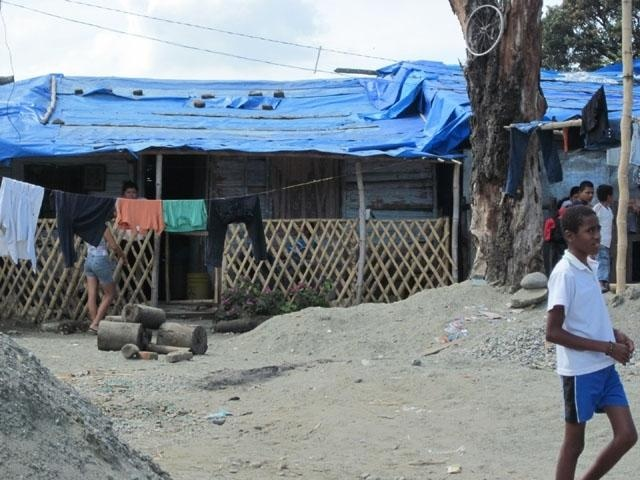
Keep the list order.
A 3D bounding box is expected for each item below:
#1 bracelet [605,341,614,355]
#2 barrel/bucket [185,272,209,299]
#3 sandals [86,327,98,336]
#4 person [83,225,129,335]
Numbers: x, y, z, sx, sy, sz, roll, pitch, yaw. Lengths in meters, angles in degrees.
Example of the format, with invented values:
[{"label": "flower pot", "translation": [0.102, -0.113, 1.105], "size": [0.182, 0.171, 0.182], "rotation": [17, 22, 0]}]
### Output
[{"label": "bracelet", "translation": [2.987, 1.115, 14.365], "size": [0.042, 0.096, 0.109], "rotation": [10, -33, 1]}, {"label": "barrel/bucket", "translation": [-1.945, 0.734, 22.017], "size": [0.375, 0.393, 0.372], "rotation": [1, -2, 0]}, {"label": "sandals", "translation": [-3.142, 1.251, 19.219], "size": [0.099, 0.116, 0.272], "rotation": [4, 2, -2]}, {"label": "person", "translation": [-3.028, 0.548, 19.497], "size": [0.532, 1.433, 1.022], "rotation": [0, -1, -10]}]
